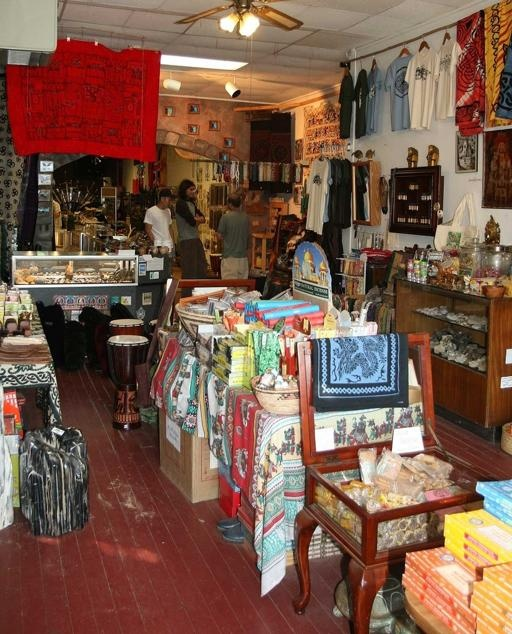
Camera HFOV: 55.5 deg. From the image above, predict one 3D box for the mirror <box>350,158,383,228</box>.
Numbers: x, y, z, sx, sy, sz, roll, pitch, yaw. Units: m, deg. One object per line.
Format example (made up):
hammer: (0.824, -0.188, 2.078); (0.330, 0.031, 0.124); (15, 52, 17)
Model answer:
mirror: (1.665, -1.874, 7.357); (0.457, 0.950, 0.315); (1, 4, 17)

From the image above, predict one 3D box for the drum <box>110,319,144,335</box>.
drum: (-1.367, 0.115, 5.181); (0.367, 0.149, 0.356); (0, 4, 0)

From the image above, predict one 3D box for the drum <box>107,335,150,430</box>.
drum: (-1.117, 0.594, 4.285); (0.334, 0.786, 0.174); (-1, 4, -16)

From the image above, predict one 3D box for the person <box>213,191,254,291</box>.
person: (-0.419, -1.531, 9.198); (0.580, 1.588, 0.525); (0, 3, -7)

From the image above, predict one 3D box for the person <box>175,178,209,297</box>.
person: (-1.234, -1.674, 9.264); (0.566, 1.863, 0.716); (0, 3, -6)

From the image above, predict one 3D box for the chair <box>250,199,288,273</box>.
chair: (0.247, -1.969, 11.345); (0.888, 1.992, 1.333); (0, 4, -2)

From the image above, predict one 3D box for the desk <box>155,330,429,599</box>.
desk: (0.218, 0.519, 2.331); (0.913, 0.598, 1.127); (-4, 10, -18)

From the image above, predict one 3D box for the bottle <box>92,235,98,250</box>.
bottle: (-2.497, -1.129, 7.587); (0.081, 0.203, 0.175); (-1, 4, -26)

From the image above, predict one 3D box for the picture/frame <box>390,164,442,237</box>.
picture/frame: (2.081, -1.517, 6.336); (0.227, 0.958, 0.976); (-1, 4, -17)

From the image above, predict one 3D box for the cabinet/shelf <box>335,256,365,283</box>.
cabinet/shelf: (1.472, -0.744, 7.418); (0.167, 0.304, 0.769); (-1, 4, -14)

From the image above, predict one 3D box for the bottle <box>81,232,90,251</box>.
bottle: (-2.665, -1.166, 7.631); (0.139, 0.297, 0.404); (-1, 4, -20)

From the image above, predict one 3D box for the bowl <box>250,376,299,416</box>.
bowl: (0.079, 0.349, 2.150); (0.255, 0.131, 0.195); (2, 4, 23)
